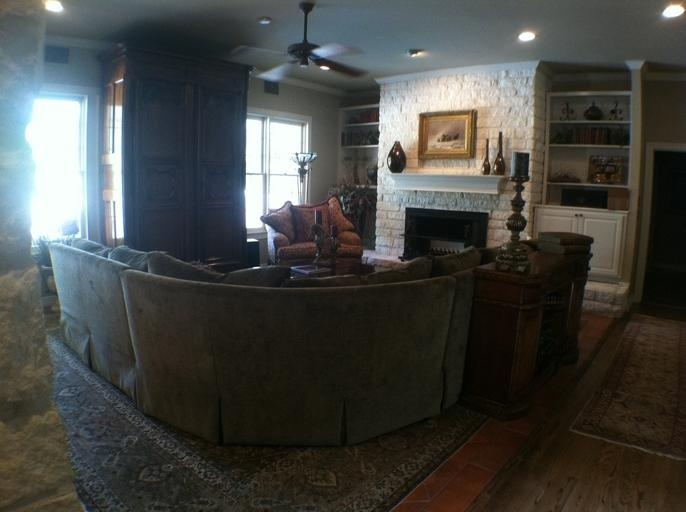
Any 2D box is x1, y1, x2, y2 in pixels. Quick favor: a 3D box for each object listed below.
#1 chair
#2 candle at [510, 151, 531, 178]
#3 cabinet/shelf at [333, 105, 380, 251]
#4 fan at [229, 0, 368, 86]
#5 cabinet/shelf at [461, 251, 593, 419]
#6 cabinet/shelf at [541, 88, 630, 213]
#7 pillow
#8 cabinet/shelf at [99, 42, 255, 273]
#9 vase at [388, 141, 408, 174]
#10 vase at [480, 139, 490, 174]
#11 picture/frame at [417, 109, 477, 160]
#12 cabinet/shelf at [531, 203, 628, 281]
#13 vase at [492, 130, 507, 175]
[{"bbox_3d":[-0.414,-0.176,6.302,1.142,1.063,0.926,-3,4,-9],"label":"chair"},{"bbox_3d":[1.077,-0.548,3.006,0.102,0.163,0.294,6,11,18],"label":"candle"},{"bbox_3d":[0.146,-1.346,8.215,0.831,2.189,0.350,-5,20,-32],"label":"cabinet/shelf"},{"bbox_3d":[-0.655,-2.232,5.810,1.151,0.575,1.141,-7,12,-35],"label":"fan"},{"bbox_3d":[1.134,0.491,3.120,0.273,0.604,0.918,4,9,34],"label":"cabinet/shelf"},{"bbox_3d":[3.002,-1.156,6.124,1.038,1.721,0.368,5,12,22],"label":"cabinet/shelf"},{"bbox_3d":[-0.545,-0.485,6.411,0.852,0.624,0.253,-12,-8,-24],"label":"pillow"},{"bbox_3d":[-1.839,-0.917,5.781,1.343,2.458,0.602,-5,26,-29],"label":"cabinet/shelf"},{"bbox_3d":[0.762,-1.413,7.089,0.275,0.422,0.278,-8,19,-23],"label":"vase"},{"bbox_3d":[1.843,-1.269,6.342,0.108,0.464,0.290,5,10,15],"label":"vase"},{"bbox_3d":[1.424,-1.642,6.681,0.690,0.560,0.053,7,12,40],"label":"picture/frame"},{"bbox_3d":[2.367,-0.140,4.808,0.795,0.767,0.310,7,2,44],"label":"cabinet/shelf"},{"bbox_3d":[1.981,-1.286,6.239,0.166,0.541,0.227,5,11,19],"label":"vase"}]
